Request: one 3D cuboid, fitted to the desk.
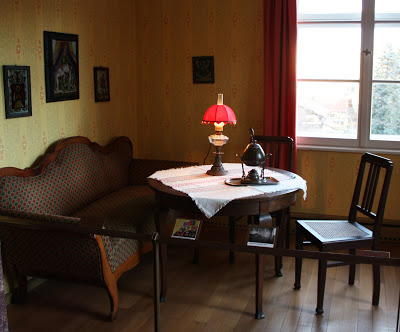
[{"bbox_3d":[0.207,0.580,3.174,1.216,1.103,1.332,1,10,14],"label":"desk"}]

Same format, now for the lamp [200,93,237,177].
[{"bbox_3d":[0.172,-0.277,3.221,0.285,0.701,0.305,1,4,-4],"label":"lamp"}]

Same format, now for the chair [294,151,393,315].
[{"bbox_3d":[1.080,0.482,2.832,0.640,1.138,0.667,-4,8,-27],"label":"chair"}]

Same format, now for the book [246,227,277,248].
[{"bbox_3d":[0.342,0.392,1.986,0.156,0.128,0.089,0,-4,31],"label":"book"}]

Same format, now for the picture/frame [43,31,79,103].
[{"bbox_3d":[-1.271,-0.898,3.275,0.040,0.657,0.596,5,11,20],"label":"picture/frame"}]

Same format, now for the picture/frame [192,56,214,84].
[{"bbox_3d":[0.047,-1.106,4.156,0.262,0.350,0.022,1,6,12],"label":"picture/frame"}]

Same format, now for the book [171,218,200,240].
[{"bbox_3d":[-0.067,0.338,1.918,0.153,0.080,0.158,-1,11,-3],"label":"book"}]

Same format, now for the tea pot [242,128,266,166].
[{"bbox_3d":[0.432,-0.130,2.865,0.189,0.313,0.292,1,11,10],"label":"tea pot"}]
